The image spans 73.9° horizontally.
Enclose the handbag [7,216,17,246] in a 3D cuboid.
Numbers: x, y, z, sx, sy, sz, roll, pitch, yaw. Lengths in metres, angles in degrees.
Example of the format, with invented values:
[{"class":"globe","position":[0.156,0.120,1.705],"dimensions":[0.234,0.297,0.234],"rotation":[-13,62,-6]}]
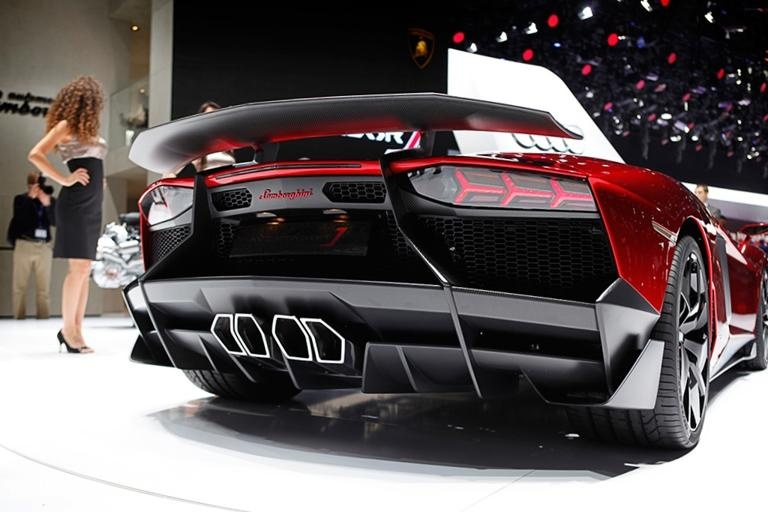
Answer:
[{"class":"handbag","position":[-7.428,-0.502,10.224],"dimensions":[0.132,0.524,0.529],"rotation":[1,-1,-37]}]

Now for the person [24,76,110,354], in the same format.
[{"class":"person","position":[-2.904,-0.435,4.769],"dimensions":[0.515,2.651,0.472],"rotation":[0,-1,11]}]
